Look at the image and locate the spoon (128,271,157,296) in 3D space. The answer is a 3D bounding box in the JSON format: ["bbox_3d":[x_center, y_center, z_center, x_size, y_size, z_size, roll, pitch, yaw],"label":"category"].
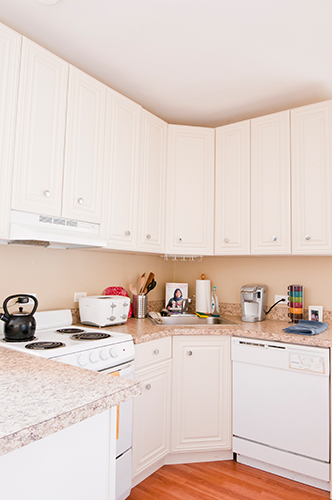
[{"bbox_3d":[-0.161,0.256,2.808,0.167,0.158,0.375,-1,-4,21],"label":"spoon"}]

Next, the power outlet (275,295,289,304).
[{"bbox_3d":[0.803,0.355,2.687,0.107,0.064,0.051,-2,-5,32],"label":"power outlet"}]

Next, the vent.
[{"bbox_3d":[-0.493,-0.092,1.860,0.108,0.135,0.567,-2,-5,27],"label":"vent"}]

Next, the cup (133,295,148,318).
[{"bbox_3d":[-0.184,0.396,2.655,0.104,0.160,0.107,1,-4,0],"label":"cup"}]

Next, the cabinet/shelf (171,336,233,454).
[{"bbox_3d":[0.241,0.959,2.432,0.407,0.666,0.423,-15,-38,24],"label":"cabinet/shelf"}]

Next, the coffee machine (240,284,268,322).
[{"bbox_3d":[0.599,0.368,2.658,0.208,0.233,0.168,2,-3,-45],"label":"coffee machine"}]

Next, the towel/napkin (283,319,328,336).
[{"bbox_3d":[0.789,0.449,2.203,0.212,0.052,0.317,-2,-5,30],"label":"towel/napkin"}]

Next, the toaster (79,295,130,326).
[{"bbox_3d":[-0.378,0.322,2.277,0.182,0.153,0.236,-4,-4,36],"label":"toaster"}]

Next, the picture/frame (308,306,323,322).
[{"bbox_3d":[0.977,0.421,2.497,0.008,0.118,0.085,13,-12,-37],"label":"picture/frame"}]
